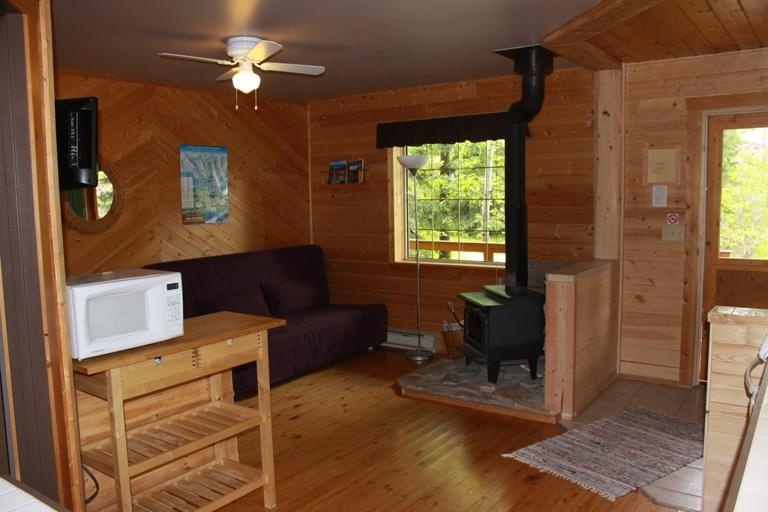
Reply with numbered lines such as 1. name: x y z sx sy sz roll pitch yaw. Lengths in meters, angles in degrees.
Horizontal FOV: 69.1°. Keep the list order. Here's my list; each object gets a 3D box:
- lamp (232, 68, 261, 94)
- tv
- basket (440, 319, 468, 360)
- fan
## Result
1. lamp: -1.050 -1.327 4.218 0.172 0.148 0.236 -6 12 -16
2. tv: -1.681 -0.617 3.062 0.252 0.493 0.179 -9 15 -24
3. basket: 0.744 0.886 5.931 0.361 0.247 0.369 1 5 9
4. fan: -0.979 -1.471 4.175 0.682 0.103 0.648 -4 9 -36
